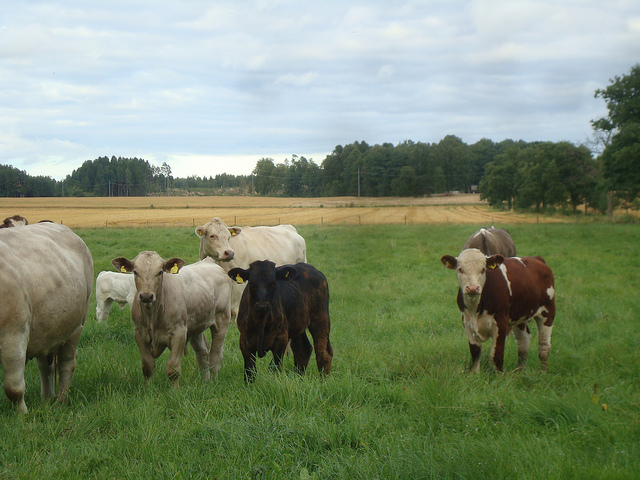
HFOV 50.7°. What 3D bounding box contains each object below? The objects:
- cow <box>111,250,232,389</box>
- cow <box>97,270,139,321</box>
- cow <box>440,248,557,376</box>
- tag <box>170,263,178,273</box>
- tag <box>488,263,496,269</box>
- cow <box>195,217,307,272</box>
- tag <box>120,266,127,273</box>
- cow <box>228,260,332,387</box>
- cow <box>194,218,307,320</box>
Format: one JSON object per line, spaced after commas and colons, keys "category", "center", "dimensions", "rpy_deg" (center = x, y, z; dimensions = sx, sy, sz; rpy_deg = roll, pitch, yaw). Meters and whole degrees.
{"category": "cow", "center": [-2.190, 1.165, 10.510], "dimensions": [1.069, 2.040, 2.119], "rpy_deg": [2, 3, 14]}
{"category": "cow", "center": [-4.198, 1.231, 14.015], "dimensions": [0.383, 1.101, 1.396], "rpy_deg": [-14, -13, 36]}
{"category": "cow", "center": [2.982, 1.110, 10.856], "dimensions": [2.078, 1.906, 1.015], "rpy_deg": [-1, 4, -34]}
{"category": "tag", "center": [-2.176, 0.409, 10.013], "dimensions": [0.096, 0.159, 0.024], "rpy_deg": [10, 0, -18]}
{"category": "tag", "center": [2.729, 0.401, 10.649], "dimensions": [0.115, 0.088, 0.110], "rpy_deg": [3, 3, 20]}
{"category": "cow", "center": [-1.372, 0.266, 13.601], "dimensions": [1.732, 1.369, 1.615], "rpy_deg": [0, 9, 19]}
{"category": "tag", "center": [-2.954, 0.437, 10.141], "dimensions": [0.062, 0.100, 0.036], "rpy_deg": [-12, -2, -2]}
{"category": "cow", "center": [-0.552, 1.212, 10.426], "dimensions": [1.744, 1.797, 1.011], "rpy_deg": [-2, 4, -45]}
{"category": "cow", "center": [-1.352, 0.591, 14.255], "dimensions": [0.999, 1.837, 3.248], "rpy_deg": [2, 0, 31]}
